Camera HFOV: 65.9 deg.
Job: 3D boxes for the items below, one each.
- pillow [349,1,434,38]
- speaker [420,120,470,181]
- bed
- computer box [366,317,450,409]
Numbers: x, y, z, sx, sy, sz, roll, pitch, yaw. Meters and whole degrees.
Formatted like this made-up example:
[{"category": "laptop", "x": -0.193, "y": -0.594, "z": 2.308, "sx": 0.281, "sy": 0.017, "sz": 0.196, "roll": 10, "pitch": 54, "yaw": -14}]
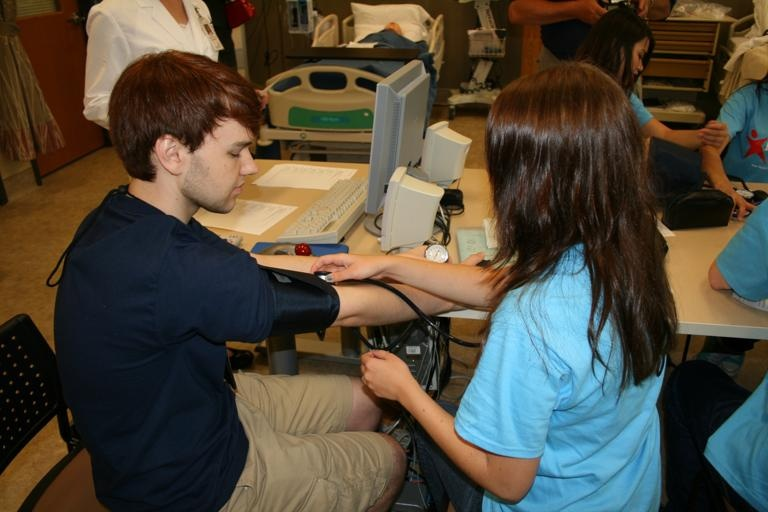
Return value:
[{"category": "pillow", "x": 0.040, "y": -2.265, "z": 5.662, "sx": 0.627, "sy": 0.235, "sz": 0.599, "roll": 0, "pitch": 46, "yaw": 6}, {"category": "speaker", "x": 0.278, "y": -0.423, "z": 2.621, "sx": 0.154, "sy": 0.280, "sz": 0.207, "roll": 21, "pitch": 28, "yaw": 27}, {"category": "bed", "x": -0.059, "y": -1.099, "z": 4.379, "sx": 1.121, "sy": 1.234, "sz": 2.138, "roll": 3, "pitch": 32, "yaw": 7}, {"category": "computer box", "x": 0.123, "y": 0.387, "z": 2.414, "sx": 0.364, "sy": 0.330, "sz": 0.454, "roll": 0, "pitch": -11, "yaw": 5}]
